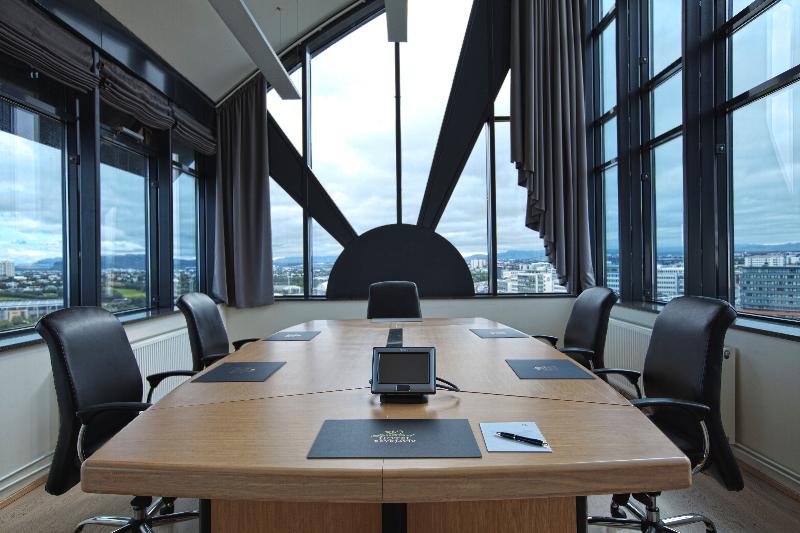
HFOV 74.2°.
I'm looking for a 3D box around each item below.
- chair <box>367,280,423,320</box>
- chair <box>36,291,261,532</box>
[{"bbox_3d":[-0.060,0.341,5.408,0.369,0.543,0.449,0,-11,-2],"label":"chair"},{"bbox_3d":[-2.207,1.090,4.548,1.494,2.222,1.591,-4,-5,23],"label":"chair"}]
